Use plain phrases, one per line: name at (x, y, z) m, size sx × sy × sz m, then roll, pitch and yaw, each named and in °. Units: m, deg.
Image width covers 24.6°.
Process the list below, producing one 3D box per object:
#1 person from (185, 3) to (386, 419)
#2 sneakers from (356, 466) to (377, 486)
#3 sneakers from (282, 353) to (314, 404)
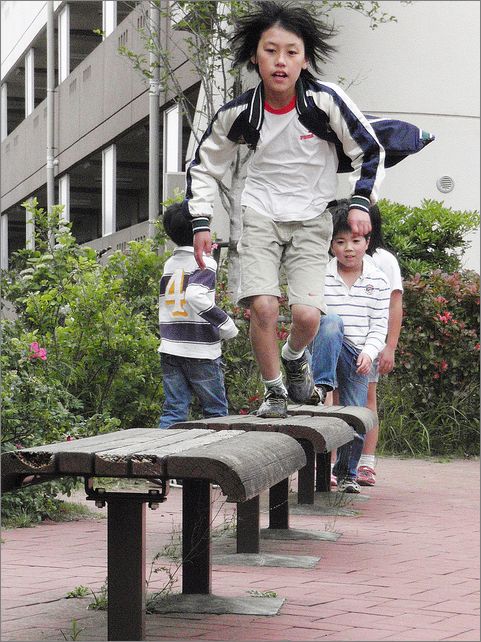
person at (0.186, -0.489, 4.984) m, size 0.865 × 1.852 × 0.590 m, roll 2°, pitch -2°, yaw -11°
sneakers at (0.746, 0.932, 6.626) m, size 0.133 × 0.116 × 0.323 m, roll 0°, pitch -10°, yaw 10°
sneakers at (0.271, 0.290, 5.376) m, size 0.116 × 0.299 × 0.131 m, roll -2°, pitch 33°, yaw 16°
